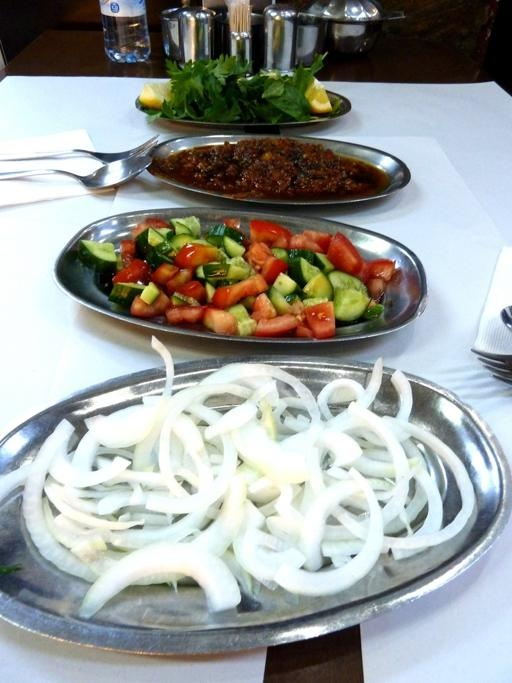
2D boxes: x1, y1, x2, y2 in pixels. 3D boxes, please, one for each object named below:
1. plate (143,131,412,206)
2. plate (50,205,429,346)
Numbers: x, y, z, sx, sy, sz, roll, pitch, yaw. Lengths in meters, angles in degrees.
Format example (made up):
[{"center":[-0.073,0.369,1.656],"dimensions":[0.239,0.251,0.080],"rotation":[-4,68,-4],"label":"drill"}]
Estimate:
[{"center":[0.060,-0.430,1.470],"dimensions":[0.524,0.053,0.315],"rotation":[4,39,1],"label":"plate"},{"center":[-0.017,-0.090,1.118],"dimensions":[0.537,0.056,0.320],"rotation":[4,36,2],"label":"plate"}]
